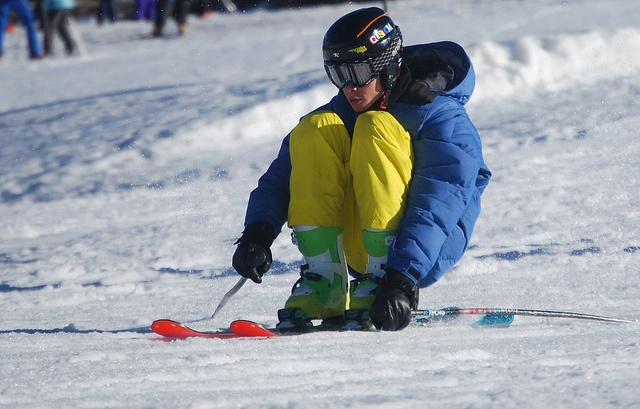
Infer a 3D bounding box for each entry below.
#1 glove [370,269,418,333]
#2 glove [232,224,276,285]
[{"bbox_3d":[0.546,0.734,6.190,0.309,0.483,0.216,35,-32,-15],"label":"glove"},{"bbox_3d":[-0.511,0.376,6.444,0.217,0.438,0.353,25,-21,-30],"label":"glove"}]
